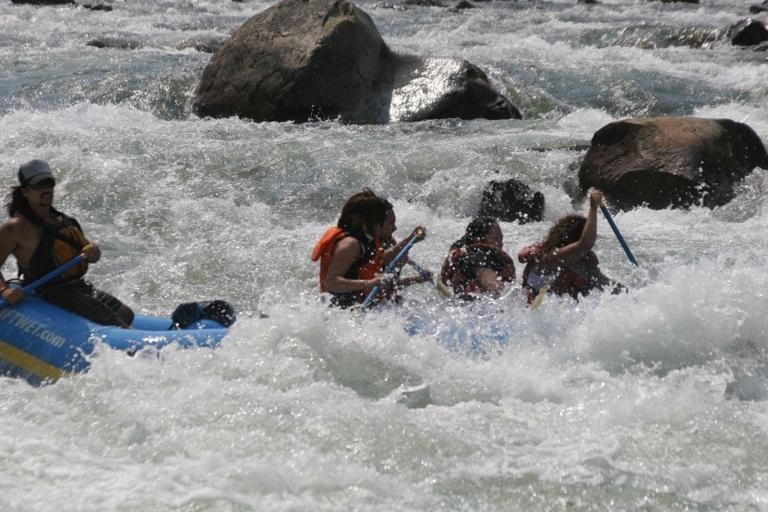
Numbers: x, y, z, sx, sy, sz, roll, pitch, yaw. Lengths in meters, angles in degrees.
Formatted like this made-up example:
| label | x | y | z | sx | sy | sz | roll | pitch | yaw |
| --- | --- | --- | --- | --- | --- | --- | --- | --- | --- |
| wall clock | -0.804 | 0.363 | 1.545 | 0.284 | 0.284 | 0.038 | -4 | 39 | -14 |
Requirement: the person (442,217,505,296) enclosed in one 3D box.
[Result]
| label | x | y | z | sx | sy | sz | roll | pitch | yaw |
| --- | --- | --- | --- | --- | --- | --- | --- | --- | --- |
| person | 1.337 | 0.068 | 16.906 | 1.291 | 1.183 | 0.739 | 2 | -4 | 43 |

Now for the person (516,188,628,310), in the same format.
| label | x | y | z | sx | sy | sz | roll | pitch | yaw |
| --- | --- | --- | --- | --- | --- | --- | --- | --- | --- |
| person | 2.648 | -0.070 | 16.553 | 1.375 | 1.272 | 0.940 | -12 | 45 | -12 |

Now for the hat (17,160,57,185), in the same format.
| label | x | y | z | sx | sy | sz | roll | pitch | yaw |
| --- | --- | --- | --- | --- | --- | --- | --- | --- | --- |
| hat | -4.972 | -1.193 | 16.139 | 0.444 | 0.250 | 0.364 | -18 | 46 | -19 |
